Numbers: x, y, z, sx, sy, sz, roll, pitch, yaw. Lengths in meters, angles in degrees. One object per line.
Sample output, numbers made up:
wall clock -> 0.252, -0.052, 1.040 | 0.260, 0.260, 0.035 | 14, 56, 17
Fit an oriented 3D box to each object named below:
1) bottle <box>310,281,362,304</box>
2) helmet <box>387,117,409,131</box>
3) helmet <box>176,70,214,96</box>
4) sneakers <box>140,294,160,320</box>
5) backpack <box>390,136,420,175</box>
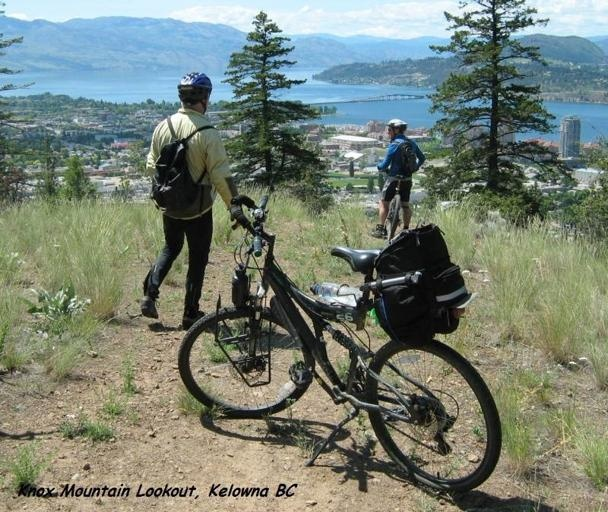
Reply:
bottle -> 0.210, 0.252, 3.881 | 0.236, 0.088, 0.159 | 8, 11, 25
helmet -> 1.445, -2.077, 9.110 | 0.311, 0.120, 0.221 | 12, 9, 26
helmet -> -0.980, -1.550, 5.169 | 0.247, 0.225, 0.190 | -18, 30, 0
sneakers -> -1.477, 0.493, 5.469 | 0.103, 0.125, 0.278 | -1, -18, 11
backpack -> 1.572, -1.535, 9.107 | 0.301, 0.507, 0.380 | 2, 20, 35
